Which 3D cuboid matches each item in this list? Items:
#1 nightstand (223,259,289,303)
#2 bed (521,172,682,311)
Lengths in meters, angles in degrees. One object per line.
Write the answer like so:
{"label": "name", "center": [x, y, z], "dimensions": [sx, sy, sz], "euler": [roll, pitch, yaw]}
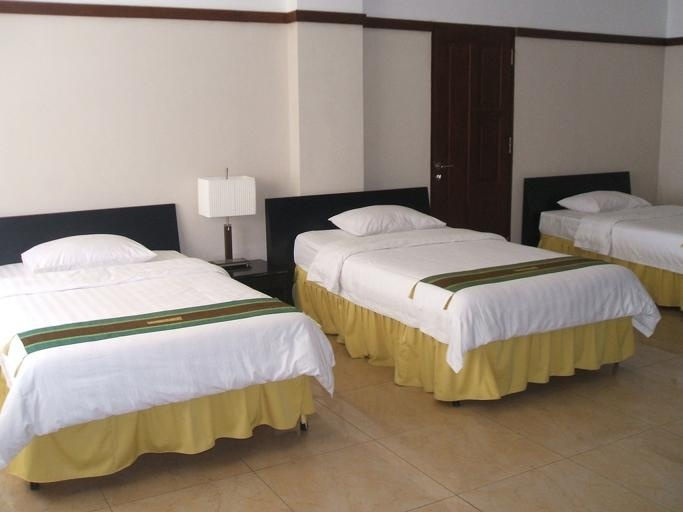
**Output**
{"label": "nightstand", "center": [-0.764, 0.251, 4.754], "dimensions": [0.379, 0.402, 0.391], "euler": [-9, 15, -38]}
{"label": "bed", "center": [2.985, -0.037, 5.920], "dimensions": [1.406, 0.992, 1.476], "euler": [-8, 20, -32]}
